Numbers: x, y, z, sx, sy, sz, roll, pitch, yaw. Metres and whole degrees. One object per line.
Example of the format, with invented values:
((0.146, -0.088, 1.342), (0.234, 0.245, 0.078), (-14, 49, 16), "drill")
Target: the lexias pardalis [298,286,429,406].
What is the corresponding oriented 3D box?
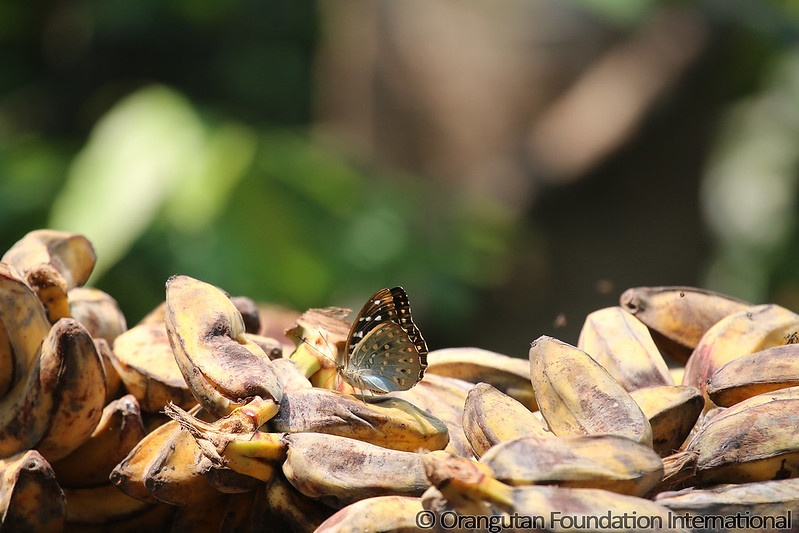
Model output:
((-0.060, 0.157, 1.644), (0.175, 0.197, 0.194), (-30, -44, 24), "lexias pardalis")
